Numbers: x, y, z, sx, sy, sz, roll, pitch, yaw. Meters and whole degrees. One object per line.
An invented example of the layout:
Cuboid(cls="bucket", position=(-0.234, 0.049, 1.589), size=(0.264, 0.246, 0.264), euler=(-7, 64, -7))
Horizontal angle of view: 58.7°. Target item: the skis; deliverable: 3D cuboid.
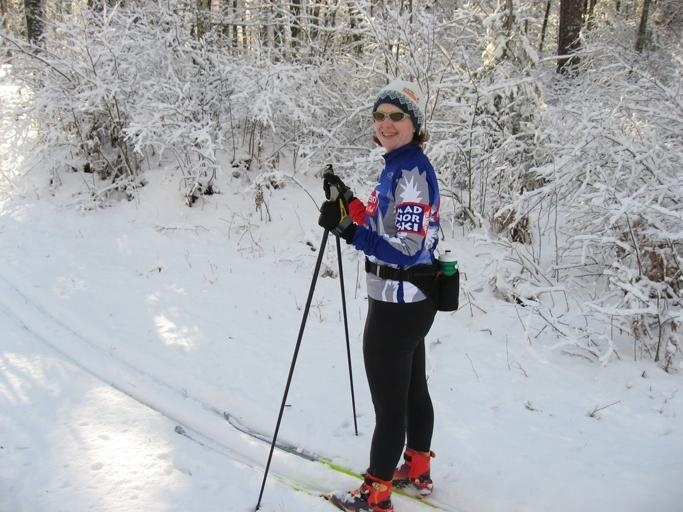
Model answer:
Cuboid(cls="skis", position=(-0.305, 2.218, 6.447), size=(2.785, 0.223, 0.231), euler=(18, 19, 11))

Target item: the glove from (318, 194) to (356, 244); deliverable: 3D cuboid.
Cuboid(cls="glove", position=(-0.031, -0.341, 5.914), size=(0.308, 0.440, 0.198), euler=(-42, 0, -6))

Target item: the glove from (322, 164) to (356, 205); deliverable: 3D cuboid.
Cuboid(cls="glove", position=(-0.070, -0.714, 5.993), size=(0.128, 0.289, 0.387), euler=(-25, 62, -16))

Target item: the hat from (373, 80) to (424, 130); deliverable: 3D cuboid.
Cuboid(cls="hat", position=(0.580, -1.547, 5.906), size=(0.430, 0.483, 0.500), euler=(11, -5, 15))

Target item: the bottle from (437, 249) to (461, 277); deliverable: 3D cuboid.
Cuboid(cls="bottle", position=(1.068, 0.065, 6.042), size=(0.226, 0.297, 0.216), euler=(1, 11, 0))
